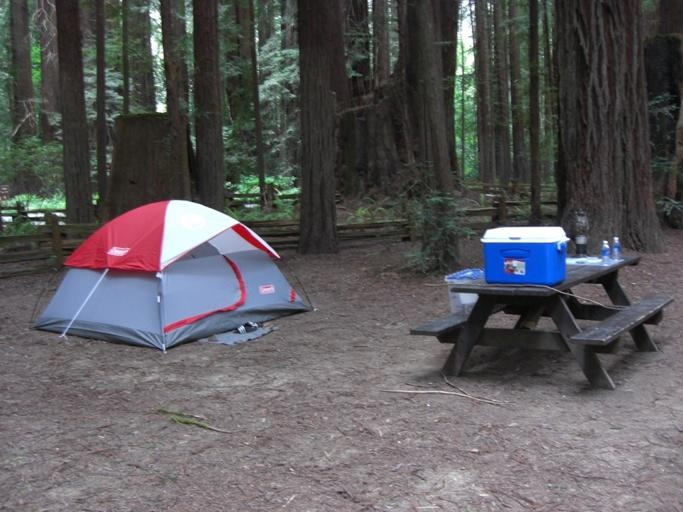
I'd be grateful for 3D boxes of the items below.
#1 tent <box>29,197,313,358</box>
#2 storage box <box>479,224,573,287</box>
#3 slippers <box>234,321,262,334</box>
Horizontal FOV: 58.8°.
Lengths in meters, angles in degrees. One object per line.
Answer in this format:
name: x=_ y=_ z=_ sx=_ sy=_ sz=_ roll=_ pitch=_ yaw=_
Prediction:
tent: x=-2.729 y=0.208 z=9.402 sx=2.705 sy=1.244 sz=3.404 roll=16 pitch=16 yaw=34
storage box: x=2.012 y=0.020 z=6.435 sx=0.875 sy=0.390 sz=0.551 roll=2 pitch=5 yaw=41
slippers: x=-1.378 y=1.067 z=8.915 sx=0.281 sy=0.061 sz=0.161 roll=-8 pitch=11 yaw=-31
